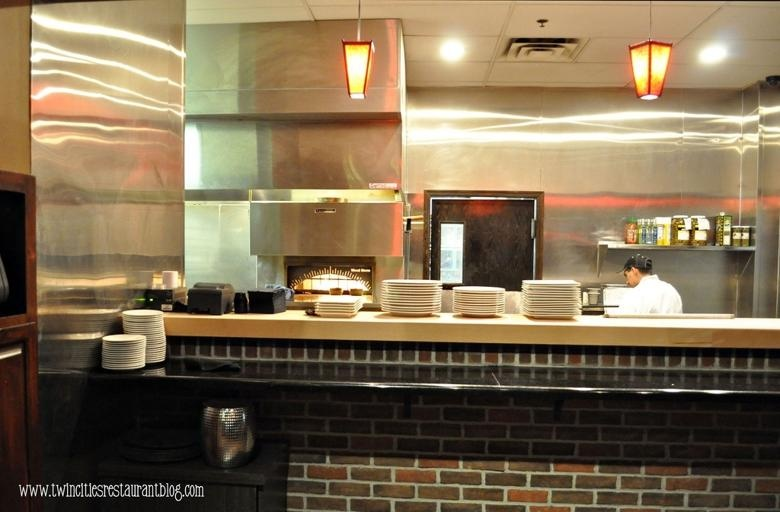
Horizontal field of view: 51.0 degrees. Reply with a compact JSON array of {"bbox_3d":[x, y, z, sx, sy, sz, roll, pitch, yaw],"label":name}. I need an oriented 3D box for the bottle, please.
[{"bbox_3d":[3.251,-0.291,8.834,1.339,0.270,0.317,0,0,-5],"label":"bottle"}]

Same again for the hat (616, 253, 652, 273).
[{"bbox_3d":[2.549,0.081,8.382,0.184,0.152,0.277,2,0,-28],"label":"hat"}]

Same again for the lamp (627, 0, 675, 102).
[{"bbox_3d":[2.056,-1.479,6.408,0.300,0.464,0.186,1,0,15],"label":"lamp"}]

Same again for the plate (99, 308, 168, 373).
[{"bbox_3d":[-1.935,0.633,6.197,0.461,0.434,0.204,0,0,-17],"label":"plate"}]

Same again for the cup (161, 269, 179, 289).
[{"bbox_3d":[-1.767,0.181,6.699,0.160,0.129,0.130,0,-5,5],"label":"cup"}]
